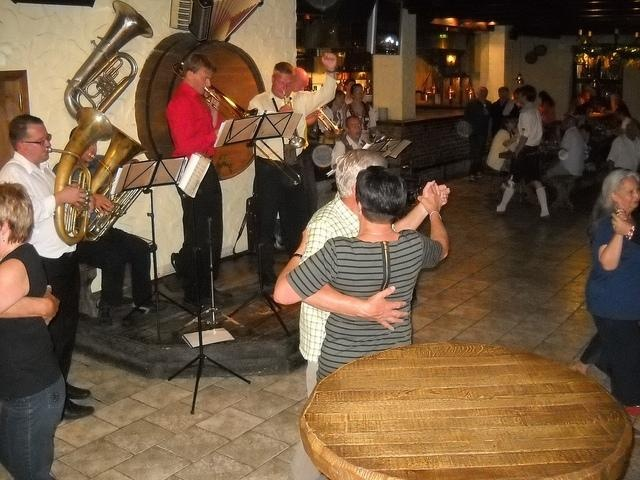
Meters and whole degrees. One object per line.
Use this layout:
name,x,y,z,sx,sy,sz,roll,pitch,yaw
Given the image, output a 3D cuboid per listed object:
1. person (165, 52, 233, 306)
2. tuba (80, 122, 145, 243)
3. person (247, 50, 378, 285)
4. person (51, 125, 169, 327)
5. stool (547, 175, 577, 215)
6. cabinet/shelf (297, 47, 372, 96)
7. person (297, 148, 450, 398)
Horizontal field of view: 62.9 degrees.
person,-1.141,-0.532,5.048,0.623,2.519,0.660,17,19,33
tuba,-1.706,-0.492,4.405,0.504,1.049,0.509,16,21,31
person,-0.406,-0.730,5.821,1.108,2.609,1.021,-8,24,-38
person,-2.026,-0.151,5.181,0.883,1.722,0.740,21,22,36
stool,4.643,-0.865,9.999,0.723,0.679,0.786,0,8,20
cabinet/shelf,0.445,-4.656,14.753,1.569,1.355,3.023,10,19,24
person,0.191,0.251,2.630,0.788,1.316,0.662,6,16,-9
